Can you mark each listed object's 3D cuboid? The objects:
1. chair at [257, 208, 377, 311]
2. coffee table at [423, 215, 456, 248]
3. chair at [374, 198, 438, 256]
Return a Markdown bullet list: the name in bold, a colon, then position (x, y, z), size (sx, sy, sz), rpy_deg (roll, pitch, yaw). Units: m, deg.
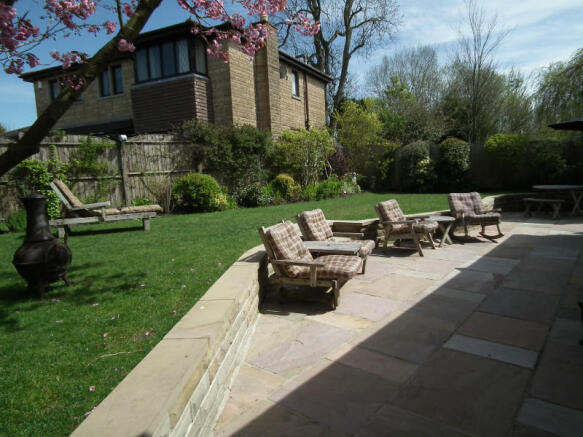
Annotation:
- **chair**: position (0.456, 0.617, 6.149), size (1.538, 1.363, 1.177), rpy_deg (0, 8, 21)
- **coffee table**: position (3.509, 0.341, 9.386), size (0.774, 0.603, 0.805), rpy_deg (-2, 7, 14)
- **chair**: position (2.613, 0.129, 8.881), size (1.380, 1.262, 1.214), rpy_deg (2, 6, 30)
